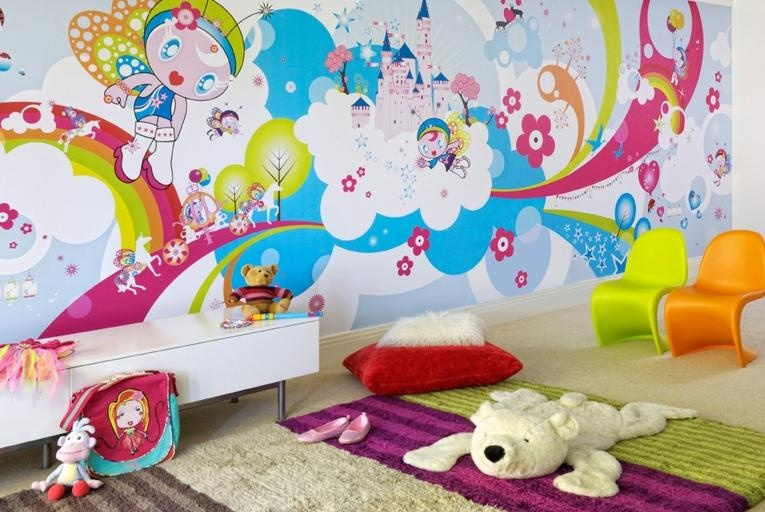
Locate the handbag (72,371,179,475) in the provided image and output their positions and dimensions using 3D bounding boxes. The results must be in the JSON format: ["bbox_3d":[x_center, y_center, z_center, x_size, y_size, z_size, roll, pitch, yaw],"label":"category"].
[{"bbox_3d":[-1.331,0.855,2.624,0.458,0.431,0.197,-7,3,-31],"label":"handbag"}]

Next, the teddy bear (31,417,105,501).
[{"bbox_3d":[-1.524,0.972,2.496,0.285,0.346,0.214,4,-1,-36],"label":"teddy bear"}]

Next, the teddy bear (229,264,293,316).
[{"bbox_3d":[-0.794,0.232,3.352,0.394,0.378,0.261,-1,-9,-20],"label":"teddy bear"}]

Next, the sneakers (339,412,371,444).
[{"bbox_3d":[-0.160,0.969,2.887,0.124,0.086,0.236,2,9,23],"label":"sneakers"}]
